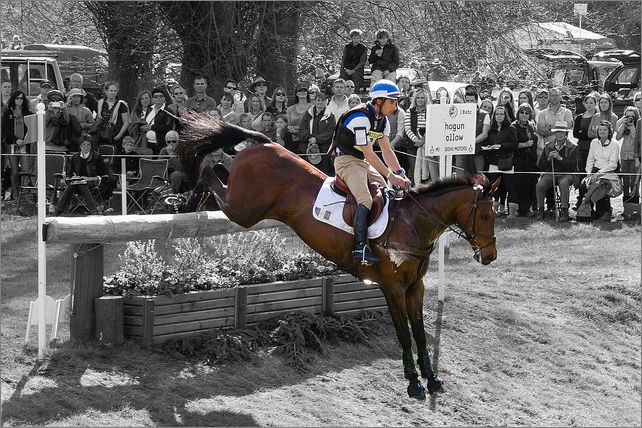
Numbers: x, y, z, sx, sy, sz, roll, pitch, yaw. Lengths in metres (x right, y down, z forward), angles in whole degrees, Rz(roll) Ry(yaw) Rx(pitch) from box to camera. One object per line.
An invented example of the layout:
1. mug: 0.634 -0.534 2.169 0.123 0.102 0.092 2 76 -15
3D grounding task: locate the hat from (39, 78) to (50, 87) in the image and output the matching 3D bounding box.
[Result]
1. hat: -6.918 -3.254 20.788 0.368 0.200 0.543 -1 5 -19

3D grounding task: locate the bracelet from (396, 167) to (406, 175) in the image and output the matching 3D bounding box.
1. bracelet: 1.167 -0.628 12.181 0.097 0.106 0.096 -9 -16 38

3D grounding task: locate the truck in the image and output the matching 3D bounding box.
1. truck: -7.814 -4.382 25.594 3.778 2.027 1.525 -4 12 -20

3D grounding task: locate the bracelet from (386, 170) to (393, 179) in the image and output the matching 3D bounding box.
1. bracelet: 0.971 -0.560 11.891 0.028 0.101 0.104 22 -1 -7

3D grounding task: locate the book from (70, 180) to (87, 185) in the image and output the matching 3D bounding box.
1. book: -5.209 -0.676 17.814 0.317 0.118 0.104 -4 6 -22

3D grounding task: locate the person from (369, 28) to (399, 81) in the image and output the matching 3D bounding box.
1. person: 1.484 -3.880 20.387 0.740 1.348 0.789 0 6 18

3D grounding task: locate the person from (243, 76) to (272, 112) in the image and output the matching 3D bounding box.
1. person: -1.499 -2.943 19.810 0.635 0.379 0.921 0 -12 -7

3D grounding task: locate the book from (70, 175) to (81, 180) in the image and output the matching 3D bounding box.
1. book: -5.303 -0.766 17.948 0.247 0.083 0.371 -4 7 -19

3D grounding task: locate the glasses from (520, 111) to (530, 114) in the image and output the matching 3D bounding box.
1. glasses: 4.556 -2.278 18.618 0.136 0.059 0.045 0 6 14

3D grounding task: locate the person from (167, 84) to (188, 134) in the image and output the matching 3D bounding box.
1. person: -3.413 -2.509 19.624 0.407 0.815 1.413 -4 -4 -14

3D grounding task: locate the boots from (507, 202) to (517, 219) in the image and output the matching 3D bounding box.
1. boots: 4.420 -0.063 19.011 0.211 0.384 0.336 0 -9 11

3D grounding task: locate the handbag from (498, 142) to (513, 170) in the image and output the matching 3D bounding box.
1. handbag: 4.136 -1.285 18.686 0.345 0.573 0.578 4 6 -1

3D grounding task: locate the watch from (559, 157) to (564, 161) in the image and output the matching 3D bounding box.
1. watch: 5.382 -1.230 18.632 0.095 0.072 0.046 0 6 16

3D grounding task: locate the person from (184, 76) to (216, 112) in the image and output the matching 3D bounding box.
1. person: -2.775 -2.693 18.996 0.668 0.913 0.547 2 0 1

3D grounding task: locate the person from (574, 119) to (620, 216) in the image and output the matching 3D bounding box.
1. person: 6.169 -0.944 18.406 0.948 2.210 0.628 0 6 19

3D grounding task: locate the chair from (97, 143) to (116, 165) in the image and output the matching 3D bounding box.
1. chair: -4.837 -1.358 18.696 0.433 0.597 0.422 0 35 -7

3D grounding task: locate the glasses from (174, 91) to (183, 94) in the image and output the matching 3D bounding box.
1. glasses: -3.274 -2.781 19.080 0.175 0.084 0.100 -3 6 -17

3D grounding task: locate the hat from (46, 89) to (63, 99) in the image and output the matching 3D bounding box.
1. hat: -6.267 -2.804 19.454 0.507 0.238 0.689 3 6 -20

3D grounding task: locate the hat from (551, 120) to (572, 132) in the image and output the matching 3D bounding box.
1. hat: 5.433 -1.981 18.817 0.378 0.245 0.445 -1 6 9

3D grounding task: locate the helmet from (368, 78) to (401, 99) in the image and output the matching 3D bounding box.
1. helmet: 0.927 -1.787 12.090 0.353 0.284 0.274 -15 14 6

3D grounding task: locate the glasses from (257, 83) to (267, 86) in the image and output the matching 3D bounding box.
1. glasses: -1.384 -3.000 19.368 0.168 0.062 0.086 -5 7 -29

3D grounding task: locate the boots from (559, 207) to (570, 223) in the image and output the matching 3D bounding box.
1. boots: 5.370 0.042 18.600 0.345 0.355 0.170 2 0 7

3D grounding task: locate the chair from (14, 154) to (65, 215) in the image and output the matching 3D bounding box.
1. chair: -6.321 -0.672 18.733 1.085 1.423 0.990 -9 -22 43

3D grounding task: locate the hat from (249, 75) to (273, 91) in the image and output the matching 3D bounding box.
1. hat: -1.459 -3.094 19.672 0.446 0.213 0.617 -4 -4 -1

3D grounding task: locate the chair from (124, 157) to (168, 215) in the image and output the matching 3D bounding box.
1. chair: -3.903 -0.654 18.078 0.845 1.172 0.891 3 1 1

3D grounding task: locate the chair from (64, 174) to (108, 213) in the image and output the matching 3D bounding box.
1. chair: -5.165 -0.342 17.846 0.651 0.728 0.642 20 15 24
